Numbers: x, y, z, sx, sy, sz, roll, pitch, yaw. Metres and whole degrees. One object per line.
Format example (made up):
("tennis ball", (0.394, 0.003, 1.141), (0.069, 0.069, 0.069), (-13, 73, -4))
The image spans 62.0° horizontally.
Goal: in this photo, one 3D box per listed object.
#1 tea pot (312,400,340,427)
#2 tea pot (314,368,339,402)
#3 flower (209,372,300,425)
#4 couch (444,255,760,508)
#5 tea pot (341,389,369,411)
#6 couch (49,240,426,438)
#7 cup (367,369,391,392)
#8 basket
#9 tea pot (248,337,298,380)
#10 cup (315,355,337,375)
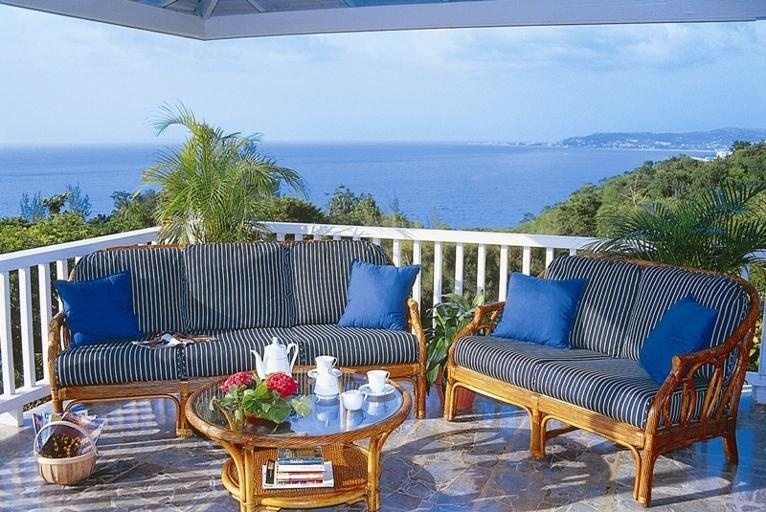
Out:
("tea pot", (-0.348, 0.977, 3.995), (0.105, 0.108, 0.118), (0, 5, -35))
("tea pot", (-0.365, 0.853, 4.238), (0.173, 0.170, 0.174), (1, 4, 0))
("flower", (-0.765, 0.855, 3.946), (0.525, 0.255, 0.386), (-3, 11, -22))
("couch", (2.022, 0.965, 5.039), (1.647, 1.896, 2.630), (0, 1, -28))
("tea pot", (-0.181, 0.915, 4.038), (0.137, 0.094, 0.104), (4, -7, -22))
("couch", (-1.327, 0.682, 5.201), (2.840, 1.505, 1.651), (0, 10, -15))
("cup", (-0.020, 0.831, 4.272), (0.144, 0.108, 0.119), (0, 0, -32))
("basket", (-2.132, 1.333, 4.314), (0.346, 0.369, 0.359), (2, 1, -7))
("tea pot", (-0.747, 0.699, 4.381), (0.364, 0.343, 0.250), (3, -4, -15))
("cup", (-0.371, 0.726, 4.307), (0.148, 0.106, 0.118), (1, -2, -29))
